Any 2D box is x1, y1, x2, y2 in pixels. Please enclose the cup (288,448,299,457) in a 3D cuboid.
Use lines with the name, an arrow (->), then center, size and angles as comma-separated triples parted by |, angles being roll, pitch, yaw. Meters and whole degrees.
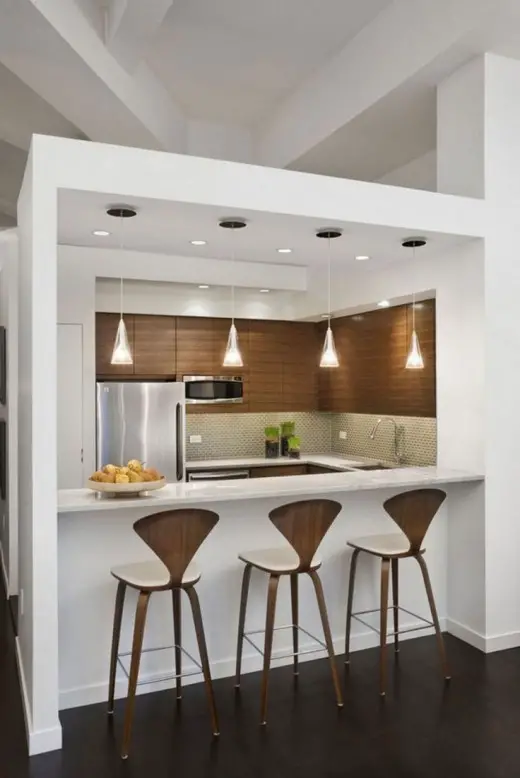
cup -> 0.340, 0.635, 5.801 | 0.073, 0.070, 0.084 | 1, -1, 2

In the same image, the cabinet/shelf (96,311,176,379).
cabinet/shelf -> -1.019, -0.350, 4.729 | 0.462, 0.476, 0.163 | 2, -3, -26

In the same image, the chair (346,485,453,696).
chair -> 0.683, 0.995, 3.040 | 0.381, 1.036, 0.420 | -3, 7, -34

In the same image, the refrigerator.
refrigerator -> -0.937, 0.294, 4.642 | 0.651, 1.195, 0.701 | 1, -2, -22

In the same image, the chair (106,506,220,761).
chair -> -0.401, 0.952, 2.526 | 0.474, 0.947, 0.640 | 1, -3, -16

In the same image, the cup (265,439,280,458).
cup -> 0.124, 0.598, 5.923 | 0.136, 0.317, 0.161 | 2, -4, -11

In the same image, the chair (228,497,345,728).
chair -> 0.177, 0.975, 2.821 | 0.560, 0.957, 0.696 | 1, -3, -11

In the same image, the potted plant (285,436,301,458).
potted plant -> 0.336, 0.576, 5.806 | 0.141, 0.298, 0.159 | 1, 6, 0

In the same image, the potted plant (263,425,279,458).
potted plant -> 0.106, 0.539, 5.942 | 0.195, 0.301, 0.107 | -2, -3, 38
